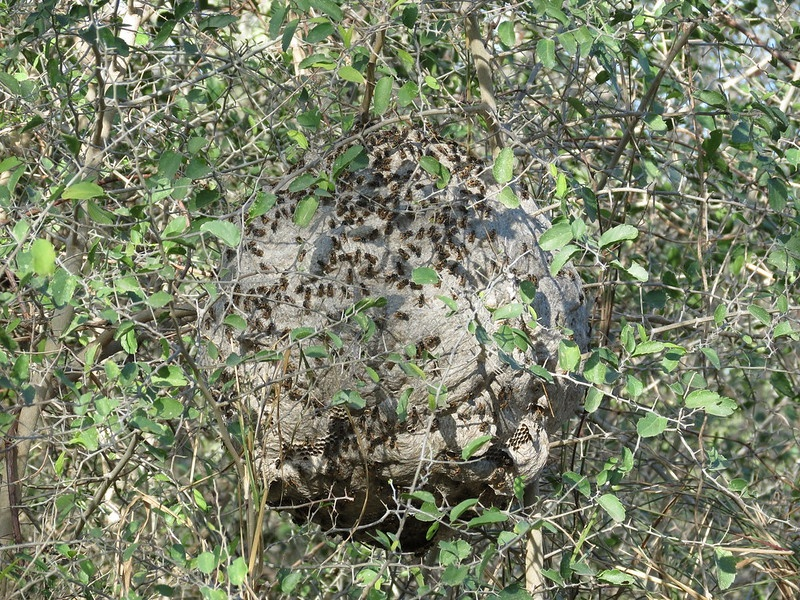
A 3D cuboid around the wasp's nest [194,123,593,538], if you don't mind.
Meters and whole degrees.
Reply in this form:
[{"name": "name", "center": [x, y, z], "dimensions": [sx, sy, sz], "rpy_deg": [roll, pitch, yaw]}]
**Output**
[{"name": "wasp's nest", "center": [0.026, 0.151, 4.843], "dimensions": [1.370, 1.458, 1.521], "rpy_deg": [1, 89, 5]}]
